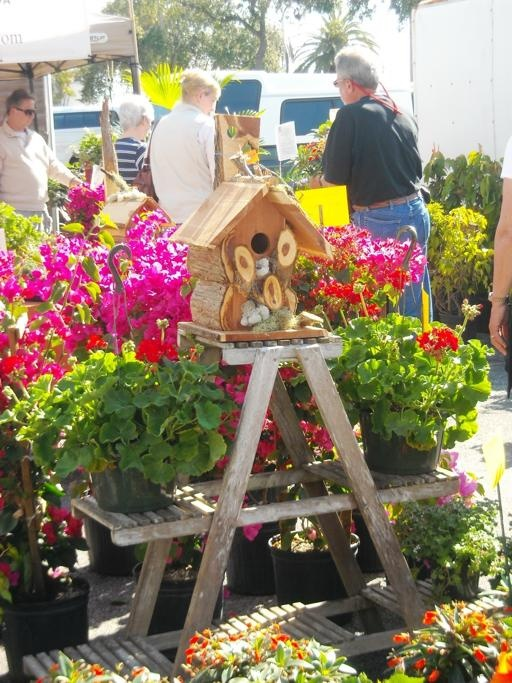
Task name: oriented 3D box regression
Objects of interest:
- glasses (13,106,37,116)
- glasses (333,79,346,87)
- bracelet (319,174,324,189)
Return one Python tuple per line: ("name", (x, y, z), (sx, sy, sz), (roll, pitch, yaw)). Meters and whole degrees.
("glasses", (-1.876, -1.874, 5.131), (0.116, 0.034, 0.113), (9, 4, 36))
("glasses", (0.460, -1.411, 3.474), (0.075, 0.020, 0.073), (-8, 12, -36))
("bracelet", (0.361, -0.872, 3.462), (0.023, 0.071, 0.062), (7, 3, 11))
